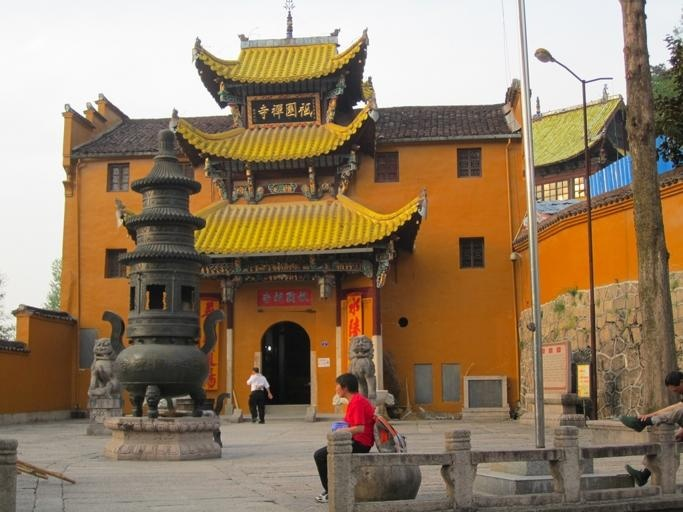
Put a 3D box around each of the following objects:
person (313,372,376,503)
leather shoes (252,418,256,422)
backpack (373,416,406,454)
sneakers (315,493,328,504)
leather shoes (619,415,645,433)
[{"bbox_3d":[0.068,3.041,20.237,0.987,2.146,0.684,-3,-11,10],"label":"person"},{"bbox_3d":[-2.276,4.306,31.429,0.088,0.084,0.113,-1,-18,2],"label":"leather shoes"},{"bbox_3d":[0.809,3.059,20.518,0.429,0.778,0.643,-3,-7,18],"label":"backpack"},{"bbox_3d":[-0.322,4.105,20.305,0.250,0.118,0.086,3,-8,8],"label":"sneakers"},{"bbox_3d":[5.142,2.965,21.259,0.421,0.273,0.152,13,-6,23],"label":"leather shoes"}]
